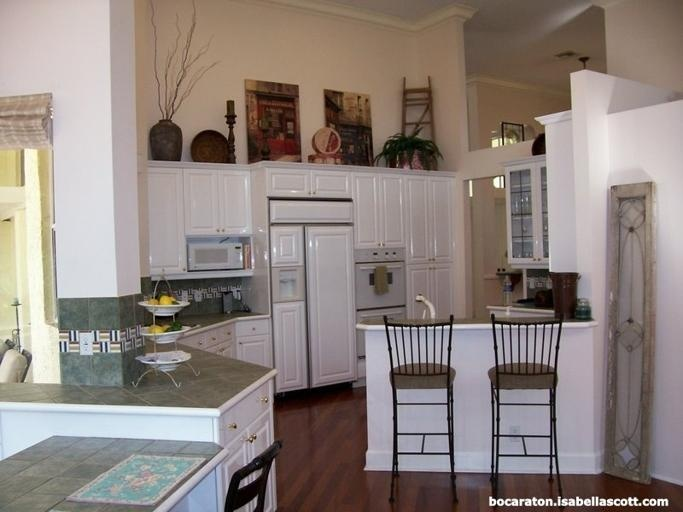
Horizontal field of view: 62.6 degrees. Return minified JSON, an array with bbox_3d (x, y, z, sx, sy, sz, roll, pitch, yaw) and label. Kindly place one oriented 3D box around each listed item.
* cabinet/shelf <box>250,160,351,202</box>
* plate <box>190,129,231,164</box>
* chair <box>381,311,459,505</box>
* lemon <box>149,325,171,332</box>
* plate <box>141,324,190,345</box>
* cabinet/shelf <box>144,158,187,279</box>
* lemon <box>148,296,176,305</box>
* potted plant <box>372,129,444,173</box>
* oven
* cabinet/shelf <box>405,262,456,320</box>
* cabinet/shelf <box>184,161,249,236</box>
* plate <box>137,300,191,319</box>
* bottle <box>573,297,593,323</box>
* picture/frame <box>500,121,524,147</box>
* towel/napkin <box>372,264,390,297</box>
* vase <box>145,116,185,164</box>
[{"bbox_3d":[-0.454,-0.905,6.858,1.210,0.413,0.370,-2,1,-30],"label":"cabinet/shelf"},{"bbox_3d":[-1.583,-1.286,6.629,0.415,0.433,0.094,-8,1,-39],"label":"plate"},{"bbox_3d":[0.652,1.143,4.605,0.572,1.363,0.682,-1,3,10],"label":"chair"},{"bbox_3d":[-1.223,0.469,3.754,0.056,0.054,0.101,13,13,41],"label":"lemon"},{"bbox_3d":[-1.206,0.524,3.770,0.334,0.142,0.242,-3,4,-9],"label":"plate"},{"bbox_3d":[-1.884,-0.409,6.382,0.668,1.297,0.445,0,6,27],"label":"cabinet/shelf"},{"bbox_3d":[-1.221,0.295,3.759,0.170,0.083,0.081,-1,-6,-1],"label":"lemon"},{"bbox_3d":[0.949,-1.419,7.769,0.659,0.403,0.669,-2,6,-23],"label":"potted plant"},{"bbox_3d":[0.714,0.568,7.363,0.925,1.519,0.879,-4,3,22],"label":"oven"},{"bbox_3d":[1.128,0.438,7.290,0.715,0.746,0.290,0,-1,-34],"label":"cabinet/shelf"},{"bbox_3d":[-1.518,-0.644,6.606,0.850,0.838,0.323,-3,2,-33],"label":"cabinet/shelf"},{"bbox_3d":[-1.436,0.417,4.451,0.415,0.119,0.430,-1,-1,-14],"label":"plate"},{"bbox_3d":[2.037,0.447,4.773,0.126,0.178,0.173,0,-6,6],"label":"bottle"},{"bbox_3d":[3.112,-2.236,10.151,0.765,0.420,0.165,-5,5,-41],"label":"picture/frame"},{"bbox_3d":[0.497,0.296,7.092,0.184,0.389,0.073,-4,4,-27],"label":"towel/napkin"},{"bbox_3d":[-1.976,-1.296,6.353,0.424,0.580,0.434,-1,1,-18],"label":"vase"}]
